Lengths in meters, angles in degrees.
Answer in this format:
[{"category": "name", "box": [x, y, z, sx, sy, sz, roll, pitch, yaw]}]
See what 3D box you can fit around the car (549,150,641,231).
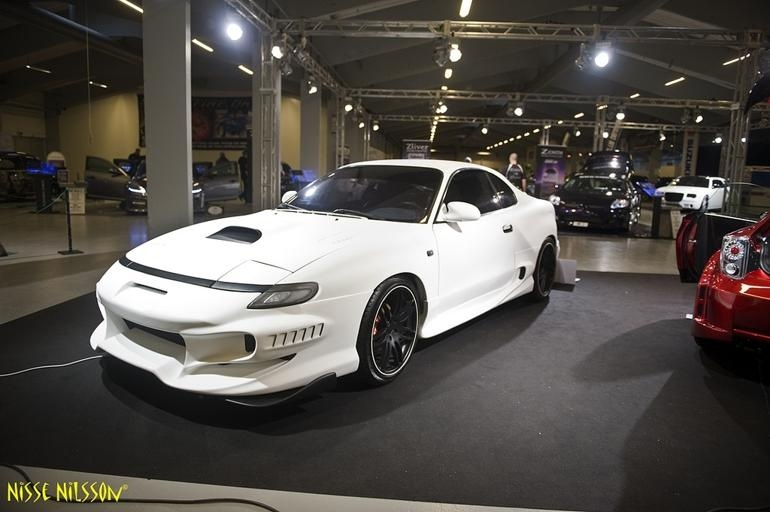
[{"category": "car", "box": [5.980, -1.580, 13.151, 2.139, 2.231, 4.390, 1, 8, 29]}]
